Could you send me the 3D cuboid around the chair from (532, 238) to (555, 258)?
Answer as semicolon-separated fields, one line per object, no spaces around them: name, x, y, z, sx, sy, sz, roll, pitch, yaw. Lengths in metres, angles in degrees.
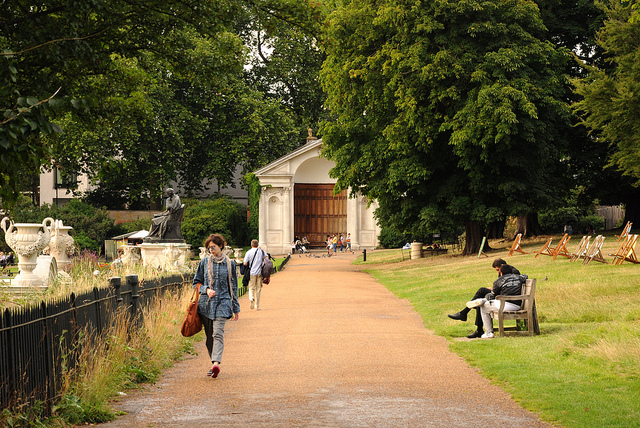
chair;9.516;1.491;31.596;0.416;0.923;0.978;14;3;19

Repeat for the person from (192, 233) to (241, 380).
person;-2.168;1.828;15.503;0.883;2.829;1.230;-1;6;8

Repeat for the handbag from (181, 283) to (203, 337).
handbag;-2.612;1.951;15.371;0.546;1.055;0.264;-7;7;-41

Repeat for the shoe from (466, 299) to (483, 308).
shoe;3.733;2.127;18.043;0.407;0.152;0.158;-9;-1;39

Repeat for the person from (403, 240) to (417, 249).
person;5.482;1.804;45.477;0.618;0.347;0.836;0;-6;1

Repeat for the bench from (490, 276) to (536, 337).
bench;4.670;2.202;18.269;1.054;1.347;1.086;-1;5;9

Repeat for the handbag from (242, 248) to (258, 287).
handbag;-2.136;1.645;22.867;0.330;0.999;0.948;-1;5;3

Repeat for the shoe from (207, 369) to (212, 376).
shoe;-2.224;3.182;15.183;0.073;0.147;0.225;-3;5;-15

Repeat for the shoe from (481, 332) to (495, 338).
shoe;4.032;2.872;17.964;0.311;0.140;0.210;-1;5;7

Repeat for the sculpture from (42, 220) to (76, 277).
sculpture;-9.470;1.285;27.103;1.153;2.111;1.501;0;-5;-5

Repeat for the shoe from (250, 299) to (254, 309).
shoe;-2.058;2.725;22.881;0.102;0.275;0.114;-1;4;-6

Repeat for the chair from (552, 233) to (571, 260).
chair;9.846;1.328;30.536;0.692;1.026;2.243;0;5;17

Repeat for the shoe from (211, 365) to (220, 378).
shoe;-2.093;3.133;15.099;0.160;0.276;0.206;-4;6;-18

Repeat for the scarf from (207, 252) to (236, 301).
scarf;-2.039;1.301;15.568;0.551;0.986;0.402;-3;6;-14

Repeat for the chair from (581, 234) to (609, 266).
chair;10.023;1.304;27.260;0.874;0.980;1.353;1;6;29

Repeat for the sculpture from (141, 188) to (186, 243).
sculpture;-6.345;0.111;30.504;1.732;2.234;1.450;0;0;-9
